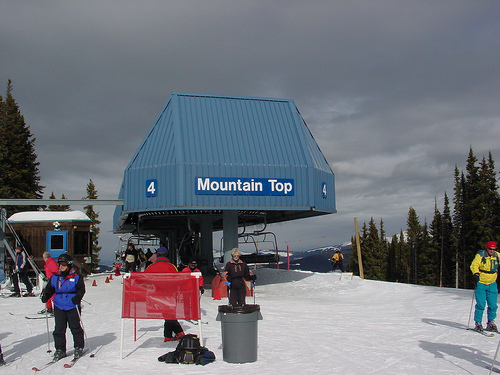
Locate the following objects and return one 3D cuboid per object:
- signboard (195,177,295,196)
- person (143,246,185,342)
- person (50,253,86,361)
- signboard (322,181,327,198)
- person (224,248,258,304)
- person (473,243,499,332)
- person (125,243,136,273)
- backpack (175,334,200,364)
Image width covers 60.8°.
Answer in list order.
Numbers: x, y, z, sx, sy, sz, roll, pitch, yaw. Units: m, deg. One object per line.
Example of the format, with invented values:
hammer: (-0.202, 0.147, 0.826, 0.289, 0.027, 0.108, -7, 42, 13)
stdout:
signboard: (-0.300, -0.091, 22.493, 5.212, 0.941, 0.106, 0, -7, -13)
person: (-2.236, 2.876, 11.699, 0.720, 2.603, 0.993, -8, 10, -32)
person: (-4.515, 2.913, 10.605, 0.746, 2.524, 0.907, 5, -10, -41)
signboard: (4.295, 0.069, 24.658, 0.048, 1.011, 0.865, -7, -4, 28)
person: (-0.369, 2.890, 13.905, 0.894, 1.815, 1.506, -1, -8, -4)
person: (7.202, 2.959, 12.881, 0.884, 2.563, 0.489, -3, -7, 9)
person: (-6.807, 3.865, 24.086, 0.592, 1.521, 1.040, 1, -8, -17)
backpack: (-1.475, 3.891, 10.358, 0.606, 0.315, 0.890, 4, 29, -5)
